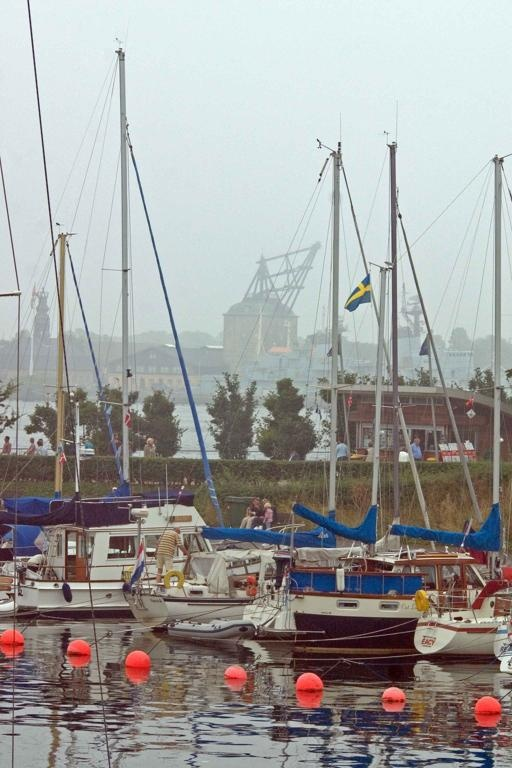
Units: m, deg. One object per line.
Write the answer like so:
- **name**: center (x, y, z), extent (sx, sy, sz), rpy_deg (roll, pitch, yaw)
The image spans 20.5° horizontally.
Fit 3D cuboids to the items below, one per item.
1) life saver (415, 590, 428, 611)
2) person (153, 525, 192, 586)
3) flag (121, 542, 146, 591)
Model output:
- **life saver**: center (2.856, 3.708, 24.257), extent (0.234, 0.491, 0.743), rpy_deg (0, 2, 6)
- **person**: center (-1.724, 3.385, 28.574), extent (0.451, 1.256, 0.504), rpy_deg (12, 15, 8)
- **flag**: center (-2.379, 3.524, 27.718), extent (0.439, 0.986, 1.347), rpy_deg (-1, 2, -5)
